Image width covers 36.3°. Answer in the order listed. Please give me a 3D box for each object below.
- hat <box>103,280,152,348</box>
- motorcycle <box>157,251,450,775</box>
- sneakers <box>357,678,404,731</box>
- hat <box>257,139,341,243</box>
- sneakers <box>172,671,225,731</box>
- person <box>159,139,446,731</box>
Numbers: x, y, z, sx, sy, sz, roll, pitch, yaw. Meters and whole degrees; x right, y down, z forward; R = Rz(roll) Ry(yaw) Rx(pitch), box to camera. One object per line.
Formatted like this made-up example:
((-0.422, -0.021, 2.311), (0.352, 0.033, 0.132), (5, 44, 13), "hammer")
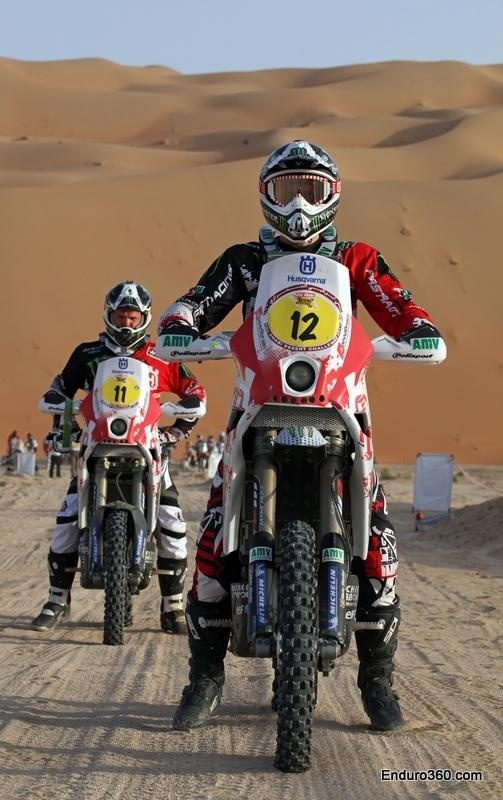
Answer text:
((-0.927, -0.644, 5.752), (0.338, 0.564, 0.342), (5, -3, -11), "hat")
((0.152, 0.352, 2.880), (0.799, 1.944, 0.786), (2, -4, 45), "motorcycle")
((0.550, 1.278, 3.205), (0.103, 0.111, 0.259), (-1, -11, -1), "sneakers")
((0.202, -0.874, 3.233), (0.351, 0.400, 0.459), (0, 9, 4), "hat")
((-0.211, 1.251, 3.167), (0.108, 0.118, 0.313), (9, -5, 11), "sneakers")
((0.206, 0.134, 3.309), (1.162, 2.471, 0.930), (1, -3, 0), "person")
